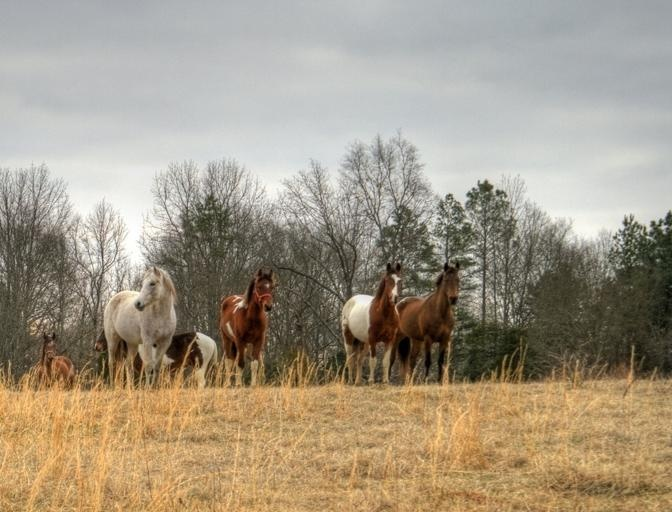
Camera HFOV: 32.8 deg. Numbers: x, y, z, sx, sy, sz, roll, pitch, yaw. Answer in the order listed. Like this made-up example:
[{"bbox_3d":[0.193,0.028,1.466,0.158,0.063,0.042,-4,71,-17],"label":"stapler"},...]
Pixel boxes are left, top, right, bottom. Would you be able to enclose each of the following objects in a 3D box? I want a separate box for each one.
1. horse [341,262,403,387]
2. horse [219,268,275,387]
[{"bbox_3d":[1.327,2.586,41.529,1.309,4.445,5.268,2,-7,-19],"label":"horse"},{"bbox_3d":[-3.326,2.778,41.318,1.214,4.210,5.504,2,-6,-20],"label":"horse"}]
